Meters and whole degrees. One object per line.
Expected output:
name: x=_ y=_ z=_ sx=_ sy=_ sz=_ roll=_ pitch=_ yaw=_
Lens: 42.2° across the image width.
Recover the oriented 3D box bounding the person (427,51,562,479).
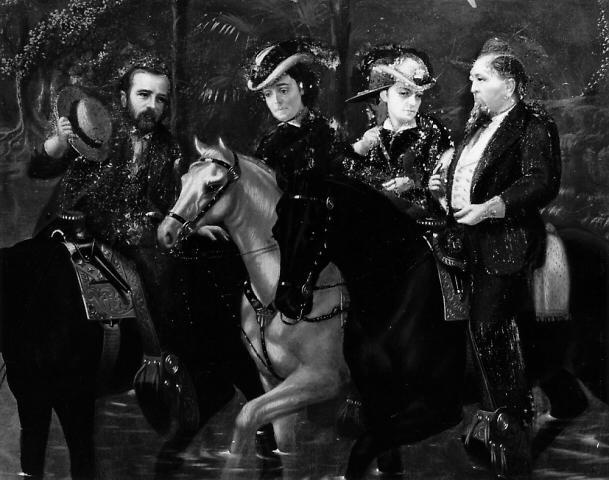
person: x=1.078 y=0.148 z=4.494 sx=0.706 sy=2.401 sz=0.243 roll=1 pitch=4 yaw=10

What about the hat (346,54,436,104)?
hat: x=0.503 y=-0.899 z=4.484 sx=0.375 sy=0.208 sz=0.263 roll=-16 pitch=0 yaw=9
